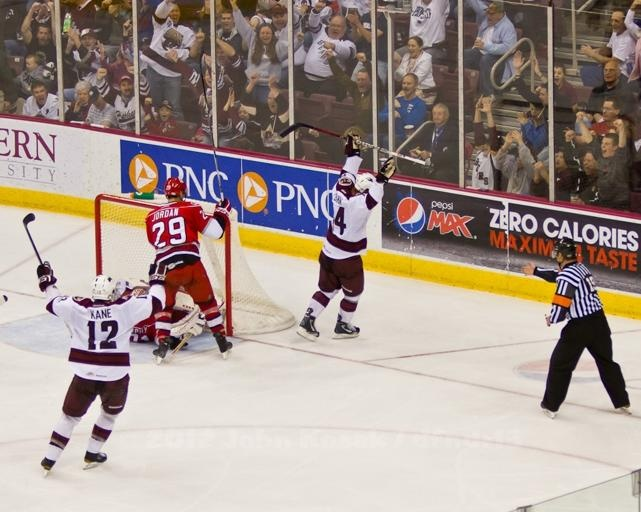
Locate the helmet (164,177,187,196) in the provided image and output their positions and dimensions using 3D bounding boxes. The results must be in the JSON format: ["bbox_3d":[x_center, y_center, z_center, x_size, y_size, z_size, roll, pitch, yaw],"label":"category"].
[{"bbox_3d":[-1.375,-0.643,10.078,0.157,0.201,0.207,10,17,26],"label":"helmet"}]

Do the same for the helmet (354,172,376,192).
[{"bbox_3d":[0.445,-0.721,10.275,0.165,0.147,0.193,-39,-23,29],"label":"helmet"}]

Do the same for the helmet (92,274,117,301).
[{"bbox_3d":[-1.597,0.235,7.840,0.136,0.160,0.187,5,13,1],"label":"helmet"}]

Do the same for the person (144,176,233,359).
[{"bbox_3d":[-1.233,0.127,10.151,0.854,1.695,0.723,-5,6,-11],"label":"person"}]

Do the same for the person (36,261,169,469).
[{"bbox_3d":[-1.619,0.874,7.934,0.900,1.468,0.413,-1,13,-16],"label":"person"}]

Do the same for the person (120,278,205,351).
[{"bbox_3d":[-1.475,0.565,10.406,0.600,0.322,0.759,-5,10,11],"label":"person"}]

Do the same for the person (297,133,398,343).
[{"bbox_3d":[0.217,-0.159,10.383,0.739,1.981,0.585,4,13,6],"label":"person"}]

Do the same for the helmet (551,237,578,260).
[{"bbox_3d":[2.017,-0.051,8.837,0.161,0.185,0.205,-9,26,-39],"label":"helmet"}]

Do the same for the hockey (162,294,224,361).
[{"bbox_3d":[-1.289,0.719,10.349,0.399,0.533,0.195,-1,-14,36],"label":"hockey"}]
